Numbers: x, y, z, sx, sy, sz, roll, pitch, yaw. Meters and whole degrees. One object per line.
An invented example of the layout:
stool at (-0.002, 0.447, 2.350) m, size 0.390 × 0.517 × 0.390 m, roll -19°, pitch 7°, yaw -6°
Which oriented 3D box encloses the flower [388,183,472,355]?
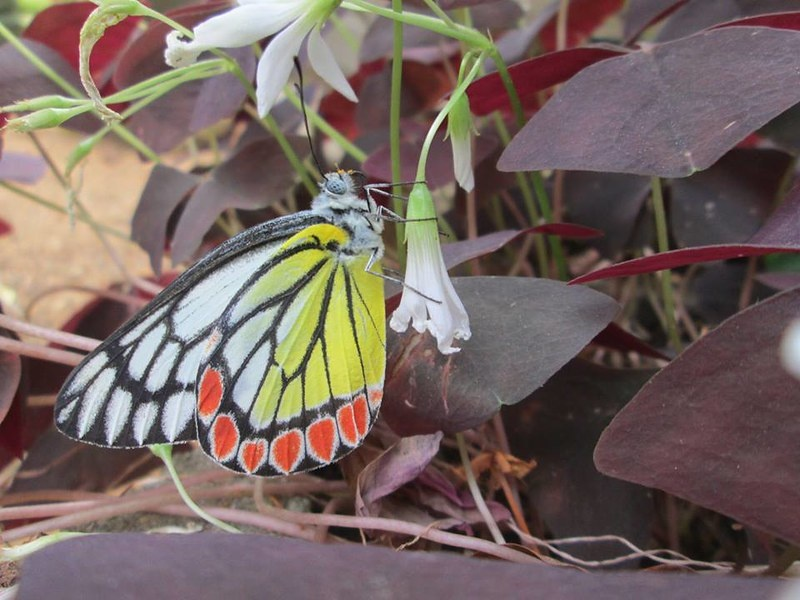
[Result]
flower at (0.026, -0.032, 0.880) m, size 0.041 × 0.172 × 0.078 m, roll -3°, pitch 0°, yaw -38°

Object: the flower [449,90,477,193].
flower at (0.067, -0.167, 0.923) m, size 0.027 × 0.101 × 0.104 m, roll -3°, pitch 0°, yaw 6°
